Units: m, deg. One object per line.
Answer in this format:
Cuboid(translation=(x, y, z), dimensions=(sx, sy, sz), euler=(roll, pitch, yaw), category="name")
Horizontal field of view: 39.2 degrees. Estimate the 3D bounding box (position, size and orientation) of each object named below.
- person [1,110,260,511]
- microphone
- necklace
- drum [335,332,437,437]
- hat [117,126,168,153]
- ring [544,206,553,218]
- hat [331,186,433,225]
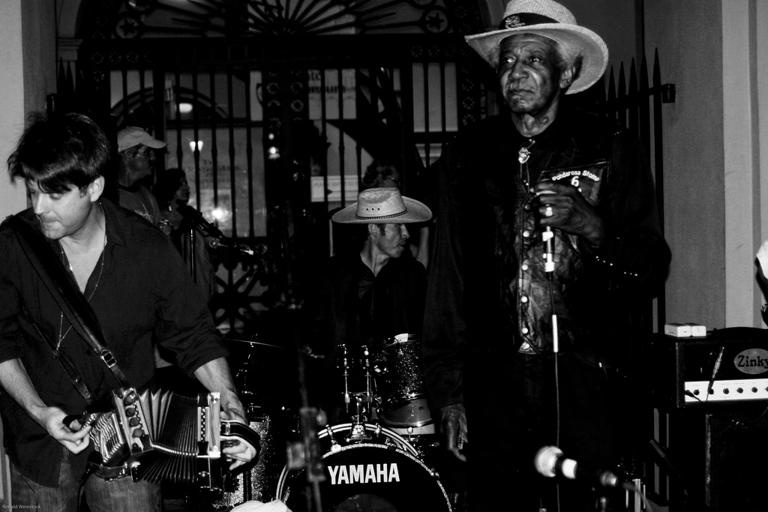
Cuboid(translation=(-1.748, 0.379, 6.732), dimensions=(1.376, 2.018, 0.570), euler=(-1, 0, -10), category="person")
Cuboid(translation=(1.085, 1.231, 6.167), dimensions=(0.502, 0.239, 0.211), euler=(13, 24, 30), category="microphone")
Cuboid(translation=(-1.919, 0.245, 6.698), dimensions=(0.395, 0.580, 0.227), euler=(-1, 0, 1), category="necklace")
Cuboid(translation=(-0.001, 1.024, 8.737), dimensions=(0.783, 0.792, 0.718), euler=(-4, -2, 26), category="drum")
Cuboid(translation=(-2.371, -1.128, 10.371), dimensions=(0.364, 0.138, 0.242), euler=(0, 16, -19), category="hat")
Cuboid(translation=(0.963, -0.259, 6.333), dimensions=(0.039, 0.056, 0.020), euler=(1, 8, 1), category="ring")
Cuboid(translation=(-0.055, -0.430, 9.767), dimensions=(0.572, 0.186, 0.478), euler=(-3, 4, 15), category="hat")
